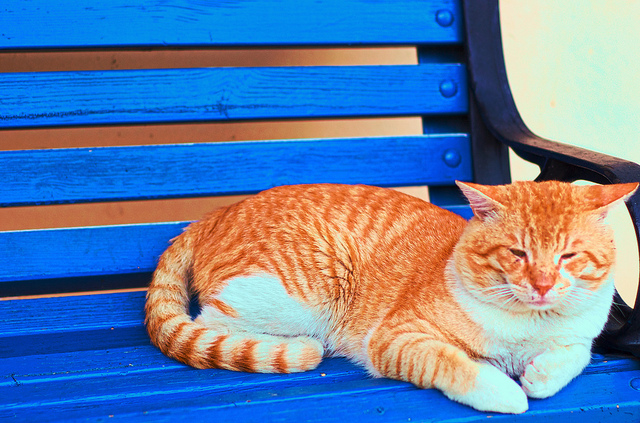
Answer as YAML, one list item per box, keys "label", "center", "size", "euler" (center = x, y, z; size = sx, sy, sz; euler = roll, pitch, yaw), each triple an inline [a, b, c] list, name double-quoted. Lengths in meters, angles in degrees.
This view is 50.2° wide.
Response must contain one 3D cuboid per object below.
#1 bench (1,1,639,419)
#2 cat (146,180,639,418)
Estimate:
- label: "bench"
  center: [-0.334, -0.223, 3.000]
  size: [2.705, 1.727, 1.610]
  euler: [-1, -6, -12]
- label: "cat"
  center: [0.180, 0.127, 2.424]
  size: [1.370, 0.614, 0.902]
  euler: [8, 5, 38]
